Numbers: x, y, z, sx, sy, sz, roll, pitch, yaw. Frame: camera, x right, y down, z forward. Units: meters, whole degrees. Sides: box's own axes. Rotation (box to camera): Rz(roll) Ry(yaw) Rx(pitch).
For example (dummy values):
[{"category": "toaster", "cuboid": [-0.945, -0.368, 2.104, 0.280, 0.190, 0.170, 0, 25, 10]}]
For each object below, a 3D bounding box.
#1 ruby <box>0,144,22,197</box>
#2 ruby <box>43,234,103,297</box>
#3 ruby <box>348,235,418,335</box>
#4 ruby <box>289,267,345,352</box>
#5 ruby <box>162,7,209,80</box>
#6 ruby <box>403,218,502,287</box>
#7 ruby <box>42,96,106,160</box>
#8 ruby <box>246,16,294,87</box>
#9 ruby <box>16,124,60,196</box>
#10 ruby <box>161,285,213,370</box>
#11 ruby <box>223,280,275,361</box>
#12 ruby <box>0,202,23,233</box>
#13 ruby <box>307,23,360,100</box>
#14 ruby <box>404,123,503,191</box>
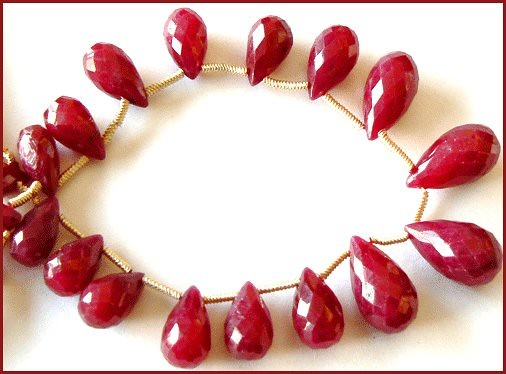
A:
[{"category": "ruby", "cuboid": [-0.417, -0.024, 0.865, 0.046, 0.074, 0.017, -7, 8, -37]}, {"category": "ruby", "cuboid": [-0.299, 0.130, 0.854, 0.074, 0.046, 0.106, 42, 70, -11]}, {"category": "ruby", "cuboid": [0.215, 0.170, 0.891, 0.086, 0.064, 0.157, -24, 76, -8]}, {"category": "ruby", "cuboid": [0.103, 0.234, 0.857, 0.085, 0.048, 0.122, 12, 1, 26]}, {"category": "ruby", "cuboid": [-0.121, -0.268, 0.927, 0.055, 0.117, 0.082, 0, 32, 41]}, {"category": "ruby", "cuboid": [0.344, 0.109, 0.873, 0.167, 0.071, 0.075, 14, 46, 11]}, {"category": "ruby", "cuboid": [-0.314, -0.104, 0.894, 0.073, 0.056, 0.123, -41, 96, -4]}, {"category": "ruby", "cuboid": [0.021, -0.253, 0.958, 0.079, 0.119, 0.057, 3, 21, -34]}, {"category": "ruby", "cuboid": [-0.367, -0.050, 0.884, 0.061, 0.051, 0.124, -16, 91, -18]}, {"category": "ruby", "cuboid": [-0.114, 0.221, 0.804, 0.073, 0.049, 0.119, 6, 77, -6]}, {"category": "ruby", "cuboid": [-0.006, 0.221, 0.848, 0.072, 0.125, 0.071, 4, 9, -6]}, {"category": "ruby", "cuboid": [-0.408, 0.052, 0.851, 0.029, 0.044, 0.014, -4, -1, -28]}, {"category": "ruby", "cuboid": [0.143, -0.233, 0.971, 0.079, 0.137, 0.059, 18, 4, -34]}, {"category": "ruby", "cuboid": [0.366, -0.044, 0.936, 0.151, 0.077, 0.096, -34, 69, 3]}]
